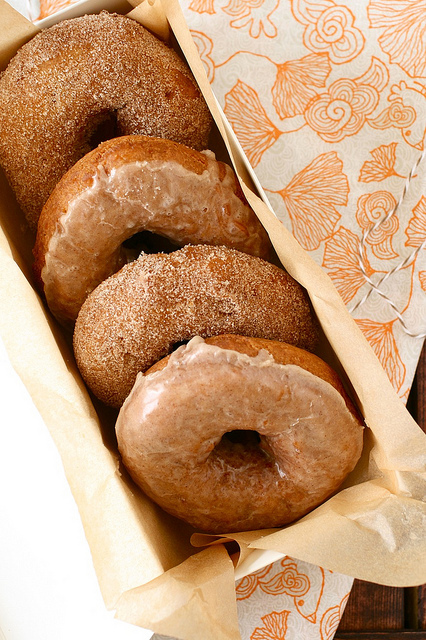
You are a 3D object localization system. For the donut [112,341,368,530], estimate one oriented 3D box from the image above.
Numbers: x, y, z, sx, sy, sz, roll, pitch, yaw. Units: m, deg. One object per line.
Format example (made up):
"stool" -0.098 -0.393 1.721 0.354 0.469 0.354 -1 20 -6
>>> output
"donut" 0.034 0.127 0.628 0.241 0.200 0.162 -19 67 -12

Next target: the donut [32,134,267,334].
"donut" -0.080 -0.113 0.657 0.226 0.224 0.071 -28 36 13
